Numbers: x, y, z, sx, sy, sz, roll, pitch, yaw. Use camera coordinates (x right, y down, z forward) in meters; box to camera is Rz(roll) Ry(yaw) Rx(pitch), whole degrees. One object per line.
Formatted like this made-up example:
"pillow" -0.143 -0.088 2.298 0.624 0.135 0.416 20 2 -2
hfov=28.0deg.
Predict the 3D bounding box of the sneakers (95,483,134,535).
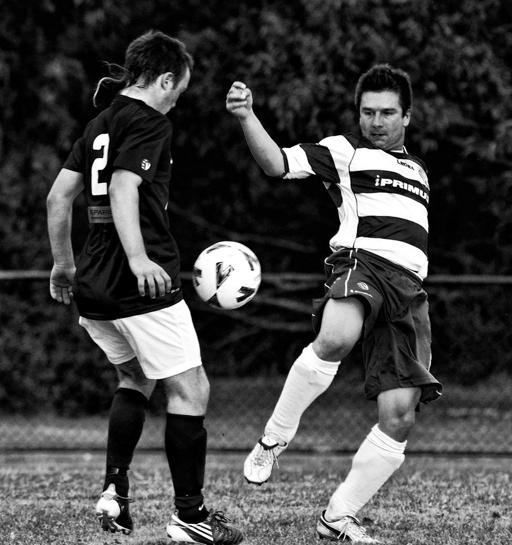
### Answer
"sneakers" -0.678 1.142 4.912 0.121 0.297 0.132 -2 56 15

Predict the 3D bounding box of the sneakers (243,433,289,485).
"sneakers" 0.068 0.945 5.123 0.129 0.152 0.331 36 36 -4

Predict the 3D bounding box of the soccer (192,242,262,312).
"soccer" -0.177 0.043 5.318 0.350 0.374 0.326 15 54 -7

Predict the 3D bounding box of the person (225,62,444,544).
"person" 0.436 0.115 5.149 1.106 2.323 0.759 9 11 9
